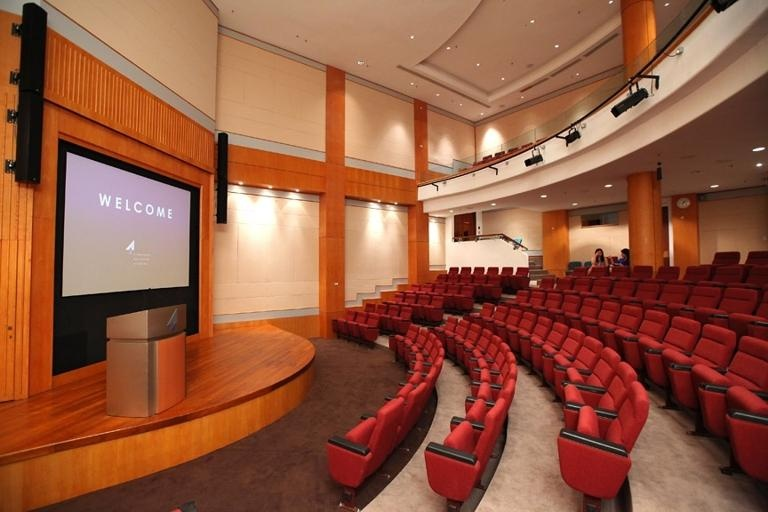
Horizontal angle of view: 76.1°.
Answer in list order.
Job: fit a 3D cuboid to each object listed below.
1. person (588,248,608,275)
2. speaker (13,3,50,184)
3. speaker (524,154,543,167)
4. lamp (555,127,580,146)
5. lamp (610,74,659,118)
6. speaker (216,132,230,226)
[{"bbox_3d":[5.456,0.119,12.366,0.400,0.981,0.523,-7,-21,33],"label":"person"},{"bbox_3d":[-4.701,-2.130,6.452,0.372,2.340,0.197,-2,-1,16],"label":"speaker"},{"bbox_3d":[3.379,-2.185,11.124,0.155,0.245,0.594,-1,-1,-25],"label":"speaker"},{"bbox_3d":[3.874,-2.493,10.091,0.329,0.218,0.232,6,4,-35],"label":"lamp"},{"bbox_3d":[4.350,-2.814,8.475,0.300,0.697,0.873,-1,-1,-20],"label":"lamp"},{"bbox_3d":[-3.374,-1.614,10.112,0.284,1.837,0.520,-1,-1,-20],"label":"speaker"}]
